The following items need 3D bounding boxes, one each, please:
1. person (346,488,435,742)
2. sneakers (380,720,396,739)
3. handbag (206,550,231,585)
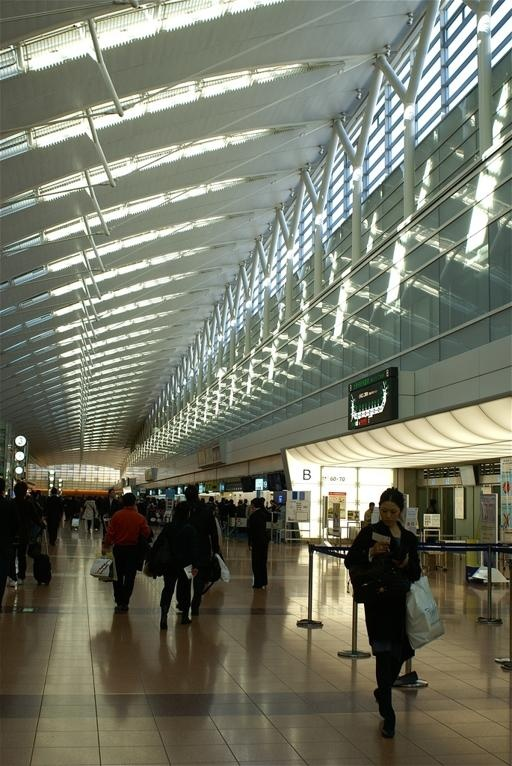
[{"bbox_3d":[0.843,1.385,3.989,0.467,1.426,0.570,3,-9,-9],"label":"person"},{"bbox_3d":[0.752,1.980,3.657,0.041,0.059,0.141,1,-8,-6],"label":"sneakers"},{"bbox_3d":[-0.552,2.618,9.449,0.370,0.680,0.673,3,-15,4],"label":"handbag"}]
